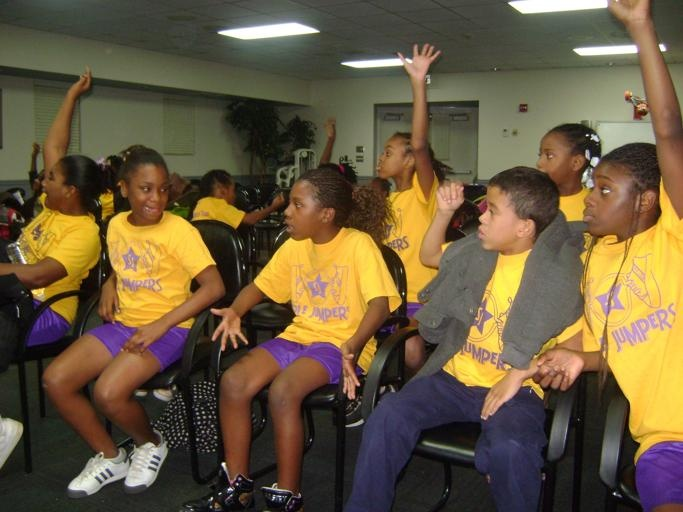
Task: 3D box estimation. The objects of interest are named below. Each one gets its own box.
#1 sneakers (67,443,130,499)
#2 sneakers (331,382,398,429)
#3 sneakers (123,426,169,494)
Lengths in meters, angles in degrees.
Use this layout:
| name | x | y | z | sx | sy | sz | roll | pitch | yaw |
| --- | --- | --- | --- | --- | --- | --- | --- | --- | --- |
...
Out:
| name | x | y | z | sx | sy | sz | roll | pitch | yaw |
| --- | --- | --- | --- | --- | --- | --- | --- | --- | --- |
| sneakers | -1.083 | 0.963 | 2.702 | 0.119 | 0.158 | 0.360 | 26 | 32 | 33 |
| sneakers | 0.092 | 0.692 | 2.658 | 0.184 | 0.166 | 0.281 | -13 | -43 | 45 |
| sneakers | -0.915 | 0.931 | 2.681 | 0.123 | 0.119 | 0.304 | 7 | 43 | 13 |
